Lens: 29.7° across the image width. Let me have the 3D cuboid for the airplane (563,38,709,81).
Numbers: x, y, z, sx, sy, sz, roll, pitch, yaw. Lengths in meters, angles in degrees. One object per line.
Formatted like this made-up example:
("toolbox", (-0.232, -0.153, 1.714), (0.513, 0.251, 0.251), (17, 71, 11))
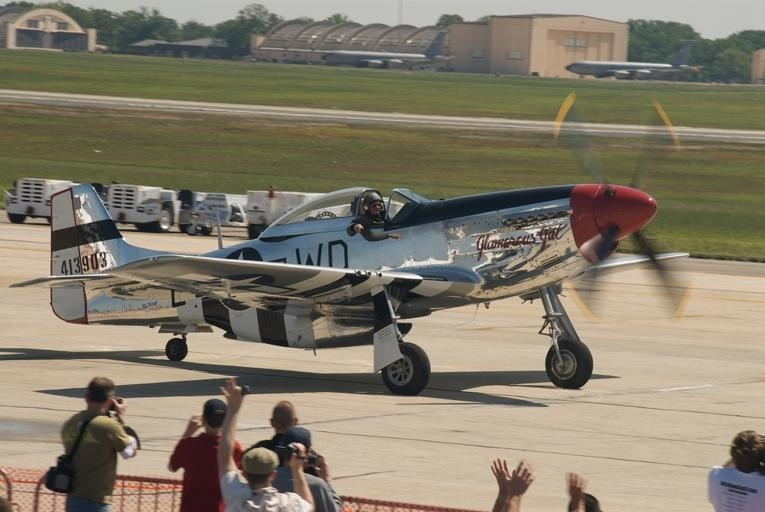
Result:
("airplane", (20.224, -15.814, 116.771), (5.092, 2.848, 13.425), (16, 7, 32))

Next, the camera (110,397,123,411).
("camera", (-8.756, 4.923, 47.444), (0.205, 0.429, 0.390), (40, 7, 24))

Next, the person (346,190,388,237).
("person", (-0.608, -1.693, 54.457), (1.526, 1.157, 2.681), (2, 17, 18))
